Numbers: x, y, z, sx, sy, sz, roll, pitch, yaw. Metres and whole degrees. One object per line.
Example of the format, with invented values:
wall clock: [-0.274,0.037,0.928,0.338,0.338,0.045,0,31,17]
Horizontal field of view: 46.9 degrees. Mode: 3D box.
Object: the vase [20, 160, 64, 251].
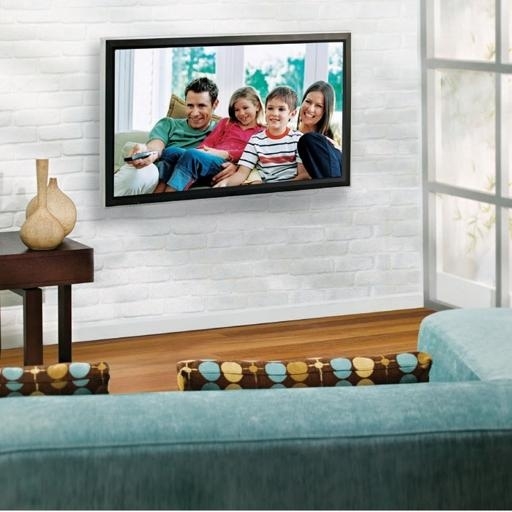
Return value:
vase: [-1.122,-0.268,3.118,0.214,0.472,0.172,3,5,-16]
